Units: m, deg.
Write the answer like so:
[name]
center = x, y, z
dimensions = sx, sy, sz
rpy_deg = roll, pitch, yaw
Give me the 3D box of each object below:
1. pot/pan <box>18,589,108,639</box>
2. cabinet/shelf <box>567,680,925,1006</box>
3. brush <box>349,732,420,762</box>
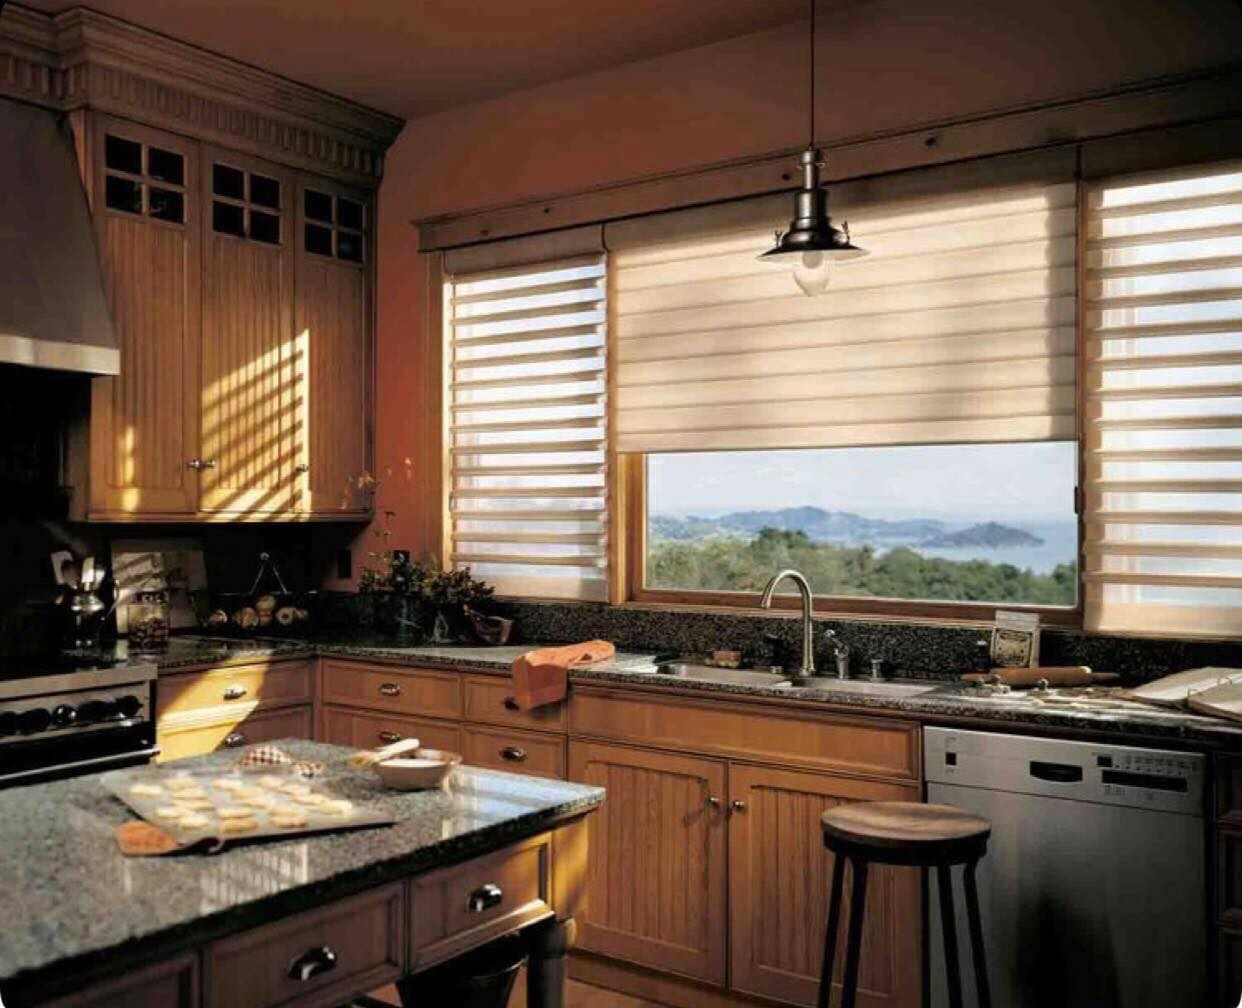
[pot/pan]
center = -2.087, 0.414, 4.051
dimensions = 0.295, 0.125, 0.177
rpy_deg = -1, -2, 13
[cabinet/shelf]
center = 0.410, 1.039, 3.251
dimensions = 1.346, 0.847, 0.492
rpy_deg = -2, -7, 32
[brush]
center = -0.514, 0.567, 2.484
dimensions = 0.203, 0.021, 0.112
rpy_deg = -5, 5, -38
